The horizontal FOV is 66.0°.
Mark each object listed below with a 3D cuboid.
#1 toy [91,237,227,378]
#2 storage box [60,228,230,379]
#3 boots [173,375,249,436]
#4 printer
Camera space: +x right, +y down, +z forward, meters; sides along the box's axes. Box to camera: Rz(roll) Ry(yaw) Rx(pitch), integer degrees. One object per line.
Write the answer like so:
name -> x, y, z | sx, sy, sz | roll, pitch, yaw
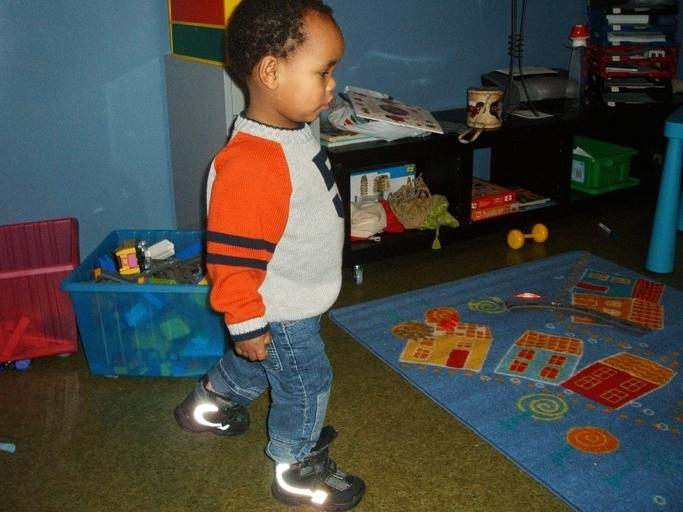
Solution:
toy -> -0.558, 0.188, 1.630 | 0.420, 0.189, 0.341 | 2, 30, 3
storage box -> -0.573, 0.113, 1.748 | 0.532, 0.280, 0.505 | 0, 21, -1
boots -> -0.314, 0.407, 1.409 | 0.214, 0.151, 0.085 | 13, 11, -3
printer -> 0.873, -0.788, 2.520 | 0.406, 0.154, 0.344 | -12, 31, -18
